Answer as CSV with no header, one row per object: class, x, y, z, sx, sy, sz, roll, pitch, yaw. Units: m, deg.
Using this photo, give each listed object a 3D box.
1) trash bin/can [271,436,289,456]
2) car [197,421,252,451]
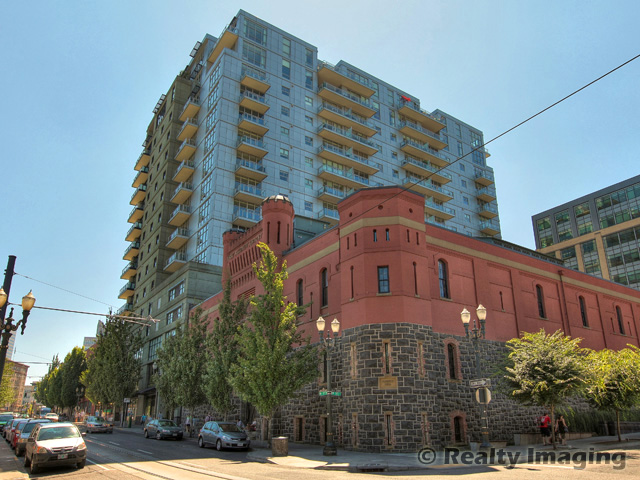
trash bin/can,-2.202,11.036,25.697,0.856,1.017,0.873,8,-19,-17
car,-5.684,11.698,28.695,3.437,1.643,1.512,-21,-33,39
